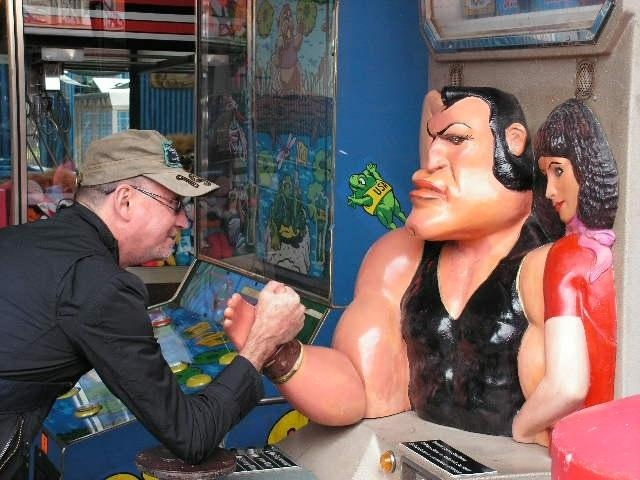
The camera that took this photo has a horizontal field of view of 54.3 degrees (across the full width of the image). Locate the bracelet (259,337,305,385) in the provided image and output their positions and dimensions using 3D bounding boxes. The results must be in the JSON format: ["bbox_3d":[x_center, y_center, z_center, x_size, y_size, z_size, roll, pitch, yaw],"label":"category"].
[{"bbox_3d":[-0.102,0.362,1.904,0.113,0.120,0.121,41,17,-8],"label":"bracelet"}]

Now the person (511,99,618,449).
[{"bbox_3d":[0.651,0.089,1.719,0.252,0.931,0.345,-4,13,-21],"label":"person"}]
